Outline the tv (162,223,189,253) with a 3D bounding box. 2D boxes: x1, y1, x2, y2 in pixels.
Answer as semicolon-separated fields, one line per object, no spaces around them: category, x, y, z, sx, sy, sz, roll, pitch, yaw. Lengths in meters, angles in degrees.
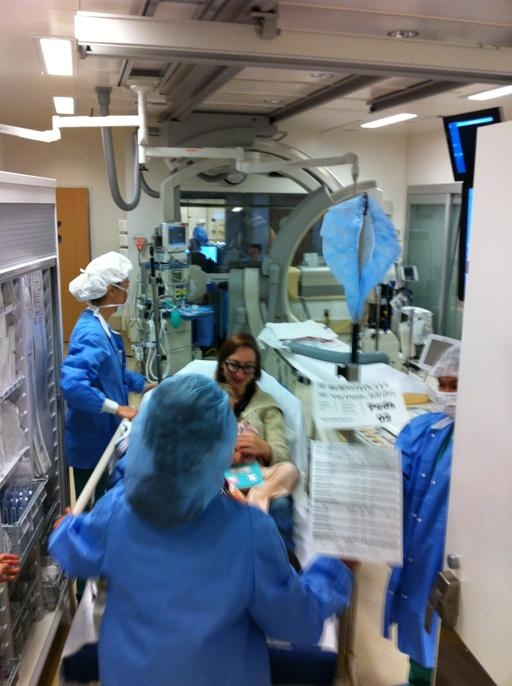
tv;-0.735;-0.969;4.587;0.138;0.267;0.359;5;11;35
